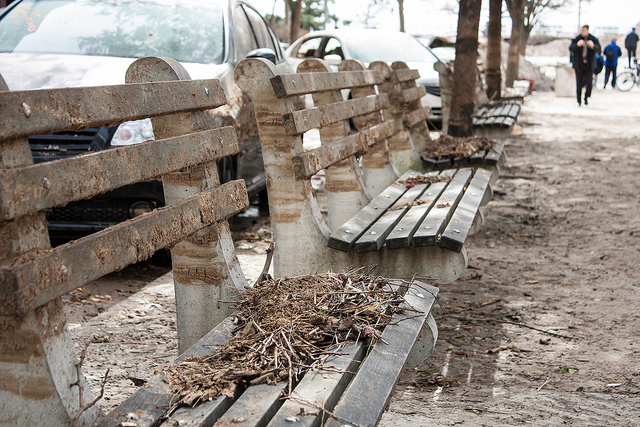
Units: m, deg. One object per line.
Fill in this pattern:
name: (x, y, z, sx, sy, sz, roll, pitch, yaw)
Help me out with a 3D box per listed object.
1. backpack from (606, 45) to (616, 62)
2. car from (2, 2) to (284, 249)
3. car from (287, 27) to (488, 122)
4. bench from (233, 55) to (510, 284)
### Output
backpack: (11.261, -6.177, 24.360, 0.287, 0.613, 0.646, 6, 16, 24)
car: (-1.757, -1.120, 6.127, 1.830, 1.494, 3.160, 2, 5, 13)
car: (1.053, -2.753, 13.017, 2.806, 2.203, 5.139, -5, 14, -21)
bench: (0.407, -0.333, 5.038, 1.113, 1.056, 2.646, 2, 10, 14)
